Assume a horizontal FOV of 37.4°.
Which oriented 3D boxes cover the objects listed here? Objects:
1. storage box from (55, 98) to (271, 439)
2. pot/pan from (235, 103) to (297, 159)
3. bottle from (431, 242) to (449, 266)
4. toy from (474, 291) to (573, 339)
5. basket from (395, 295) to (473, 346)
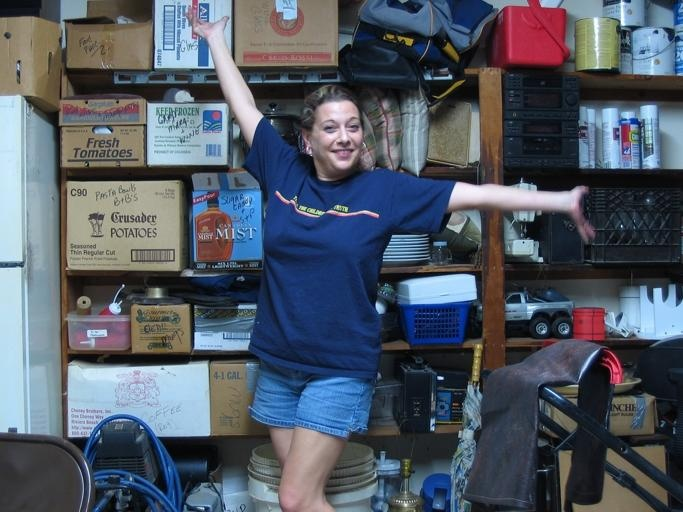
[{"bbox_3d":[-0.895,0.065,5.045,1.530,1.980,0.596,1,2,0],"label":"storage box"},{"bbox_3d":[-0.361,-0.641,5.123,0.207,0.195,0.361,3,11,24],"label":"pot/pan"},{"bbox_3d":[0.514,-0.019,5.276,0.098,0.125,0.107,0,-1,0],"label":"bottle"},{"bbox_3d":[0.960,0.296,5.311,0.422,0.229,0.242,1,-2,2],"label":"toy"},{"bbox_3d":[0.484,0.335,5.049,0.280,0.159,0.209,1,-5,-4],"label":"basket"}]
